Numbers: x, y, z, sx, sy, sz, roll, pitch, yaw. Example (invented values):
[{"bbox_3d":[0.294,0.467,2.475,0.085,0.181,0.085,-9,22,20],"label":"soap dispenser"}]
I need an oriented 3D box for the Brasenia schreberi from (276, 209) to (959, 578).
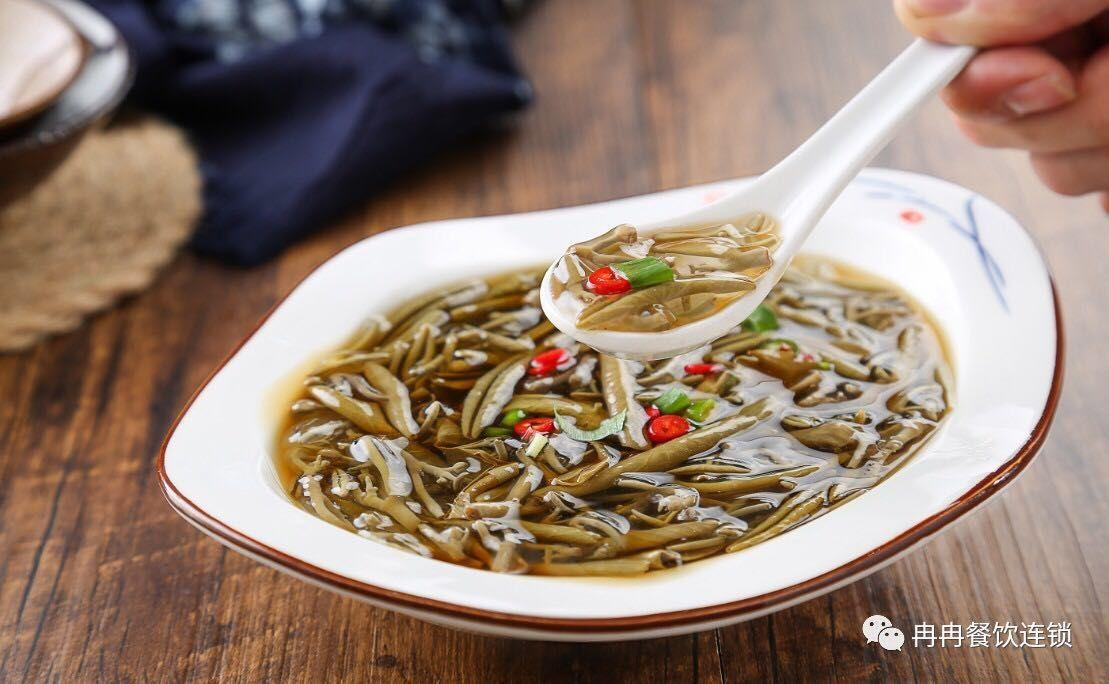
[{"bbox_3d":[0.175,0.246,2.522,1.613,0.918,0.802,1,91,-8],"label":"Brasenia schreberi"}]

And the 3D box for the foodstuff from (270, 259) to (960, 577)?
[{"bbox_3d":[0.115,0.172,3.021,1.829,0.606,0.750,1,92,-10],"label":"foodstuff"}]
